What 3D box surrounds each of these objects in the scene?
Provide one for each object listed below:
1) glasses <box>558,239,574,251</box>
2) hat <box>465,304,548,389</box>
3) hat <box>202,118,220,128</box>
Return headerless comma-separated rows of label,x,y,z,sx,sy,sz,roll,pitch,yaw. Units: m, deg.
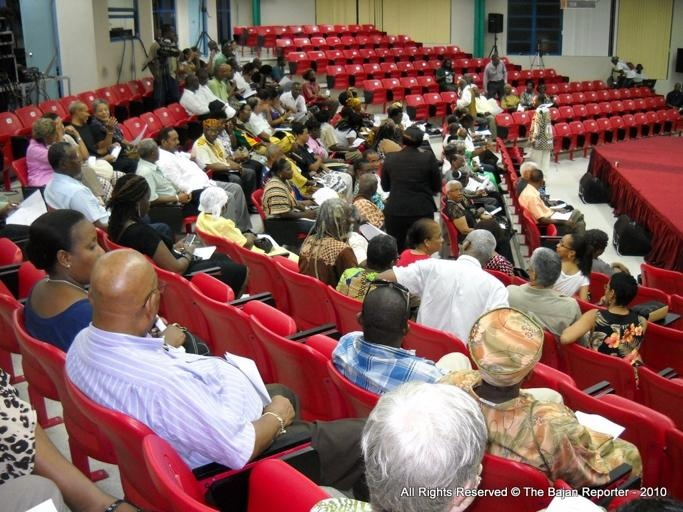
glasses,2.095,-0.107,4.732,0.096,0.032,0.099,16,-1,5
hat,0.574,0.313,1.781,0.220,0.177,0.268,24,64,19
hat,-1.803,-1.825,6.999,0.159,0.098,0.201,0,1,-5
